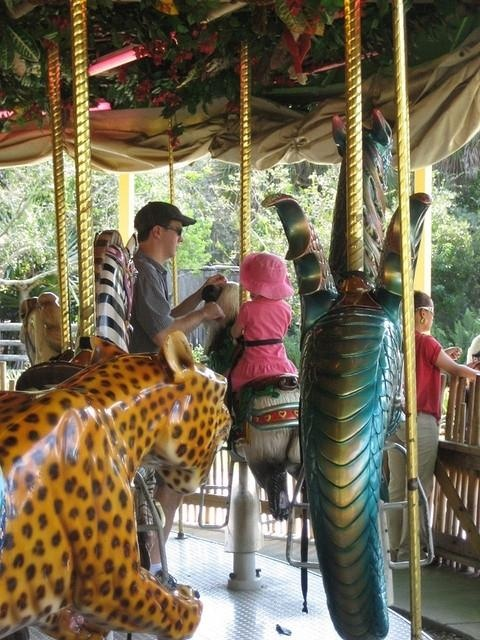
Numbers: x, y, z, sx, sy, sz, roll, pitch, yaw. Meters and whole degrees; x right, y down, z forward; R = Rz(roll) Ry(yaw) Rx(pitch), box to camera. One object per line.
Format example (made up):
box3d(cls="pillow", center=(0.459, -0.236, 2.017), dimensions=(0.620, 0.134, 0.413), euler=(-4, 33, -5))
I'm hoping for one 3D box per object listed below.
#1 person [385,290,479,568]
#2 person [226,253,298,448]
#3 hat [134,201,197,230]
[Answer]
box3d(cls="person", center=(1.281, 0.669, 4.474), dimensions=(0.559, 1.683, 0.928), euler=(2, 6, 14))
box3d(cls="person", center=(0.100, 0.089, 2.828), dimensions=(0.280, 0.744, 0.506), euler=(1, 6, 4))
box3d(cls="hat", center=(-0.345, -0.475, 3.100), dimensions=(0.199, 0.108, 0.143), euler=(-4, 13, -15))
